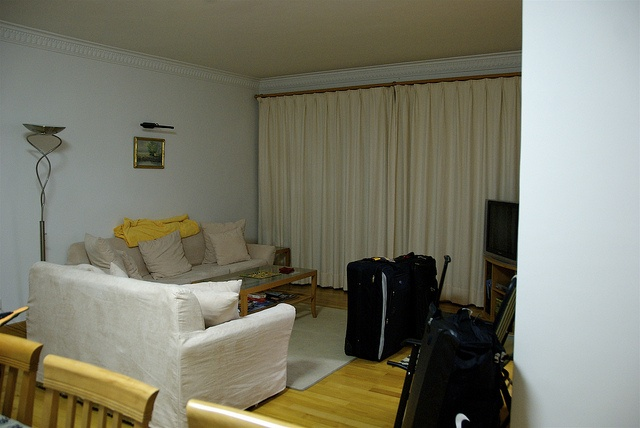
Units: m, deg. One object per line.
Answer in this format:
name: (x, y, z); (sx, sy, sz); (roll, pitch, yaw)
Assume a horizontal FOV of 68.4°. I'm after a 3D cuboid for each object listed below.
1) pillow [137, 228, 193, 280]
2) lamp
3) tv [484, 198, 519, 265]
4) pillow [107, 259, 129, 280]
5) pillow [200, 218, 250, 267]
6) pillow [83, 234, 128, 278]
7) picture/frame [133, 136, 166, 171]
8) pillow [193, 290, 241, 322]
pillow: (-1.816, 0.503, 5.558); (0.153, 0.515, 0.521); (-25, -4, 35)
lamp: (-2.963, -0.176, 5.054); (0.394, 1.503, 0.406); (-1, 7, -44)
tv: (1.981, 0.202, 5.147); (0.377, 0.678, 0.703); (0, 4, -3)
pillow: (-1.787, 0.489, 4.172); (0.166, 0.052, 0.146); (14, -2, 37)
pillow: (-1.309, 0.409, 6.467); (0.647, 0.601, 0.251); (-2, -4, -35)
pillow: (-2.137, 0.422, 4.692); (0.170, 0.309, 0.307); (-15, 21, -32)
picture/frame: (-2.165, -0.772, 5.960); (0.032, 0.454, 0.440); (0, 2, 34)
pillow: (-0.754, 0.682, 3.453); (0.371, 0.273, 0.213); (-3, -14, 0)
